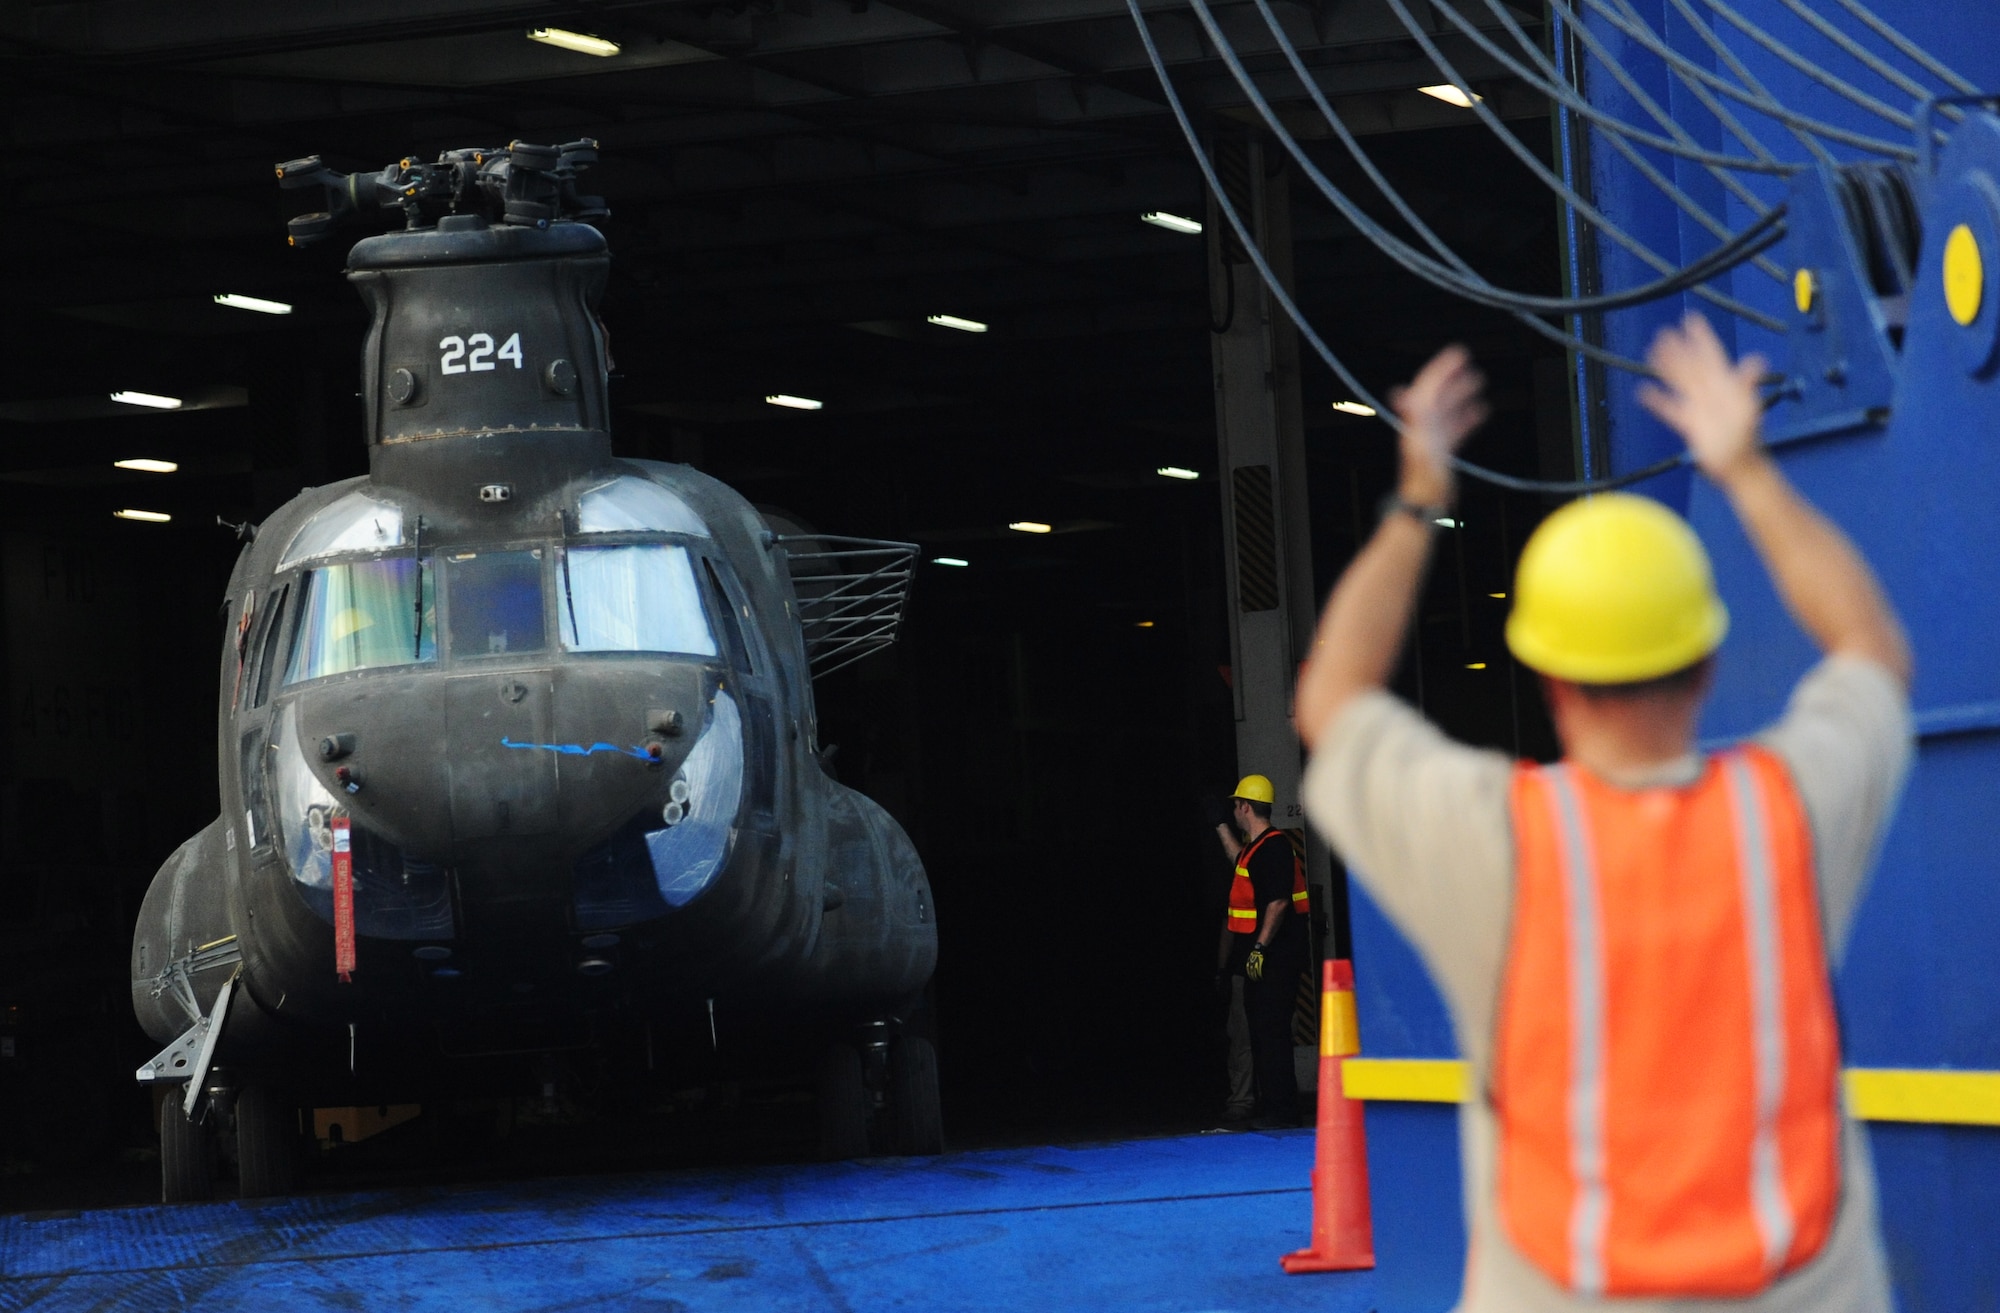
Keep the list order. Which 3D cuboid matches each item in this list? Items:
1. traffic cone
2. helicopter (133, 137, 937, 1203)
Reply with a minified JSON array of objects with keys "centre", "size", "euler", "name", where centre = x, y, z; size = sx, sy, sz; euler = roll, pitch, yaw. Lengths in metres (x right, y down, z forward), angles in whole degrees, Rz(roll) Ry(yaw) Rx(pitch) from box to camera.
[{"centre":[1.388,1.870,10.326],"size":[0.533,1.101,0.532],"euler":[-4,-8,20],"name":"traffic cone"},{"centre":[-2.917,0.159,15.972],"size":[5.599,4.957,6.069],"euler":[-2,0,35],"name":"helicopter"}]
